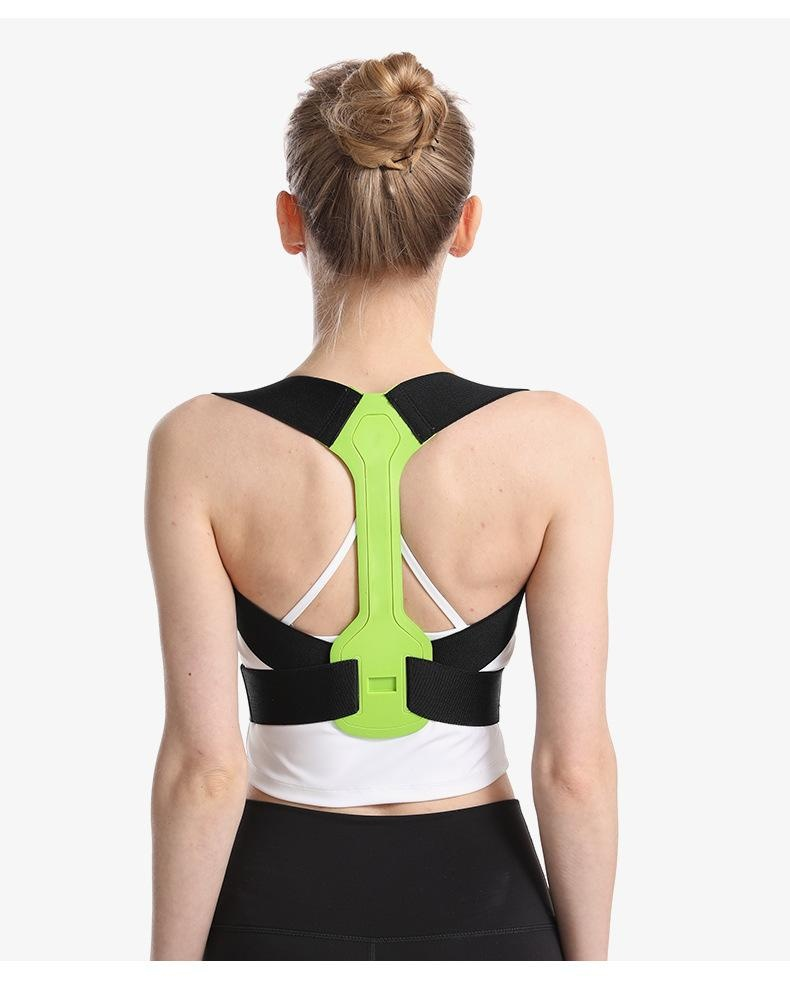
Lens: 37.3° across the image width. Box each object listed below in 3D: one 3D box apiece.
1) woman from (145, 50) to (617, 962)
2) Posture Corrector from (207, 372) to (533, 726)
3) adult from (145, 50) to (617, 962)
[{"bbox_3d":[-0.019,0.027,1.833,0.779,1.420,0.461,3,8,10],"label":"woman"},{"bbox_3d":[-0.049,0.079,1.822,0.641,0.550,0.323,-1,-2,-3],"label":"Posture Corrector"},{"bbox_3d":[-0.019,0.027,1.833,0.779,1.420,0.461,3,8,10],"label":"adult"}]
